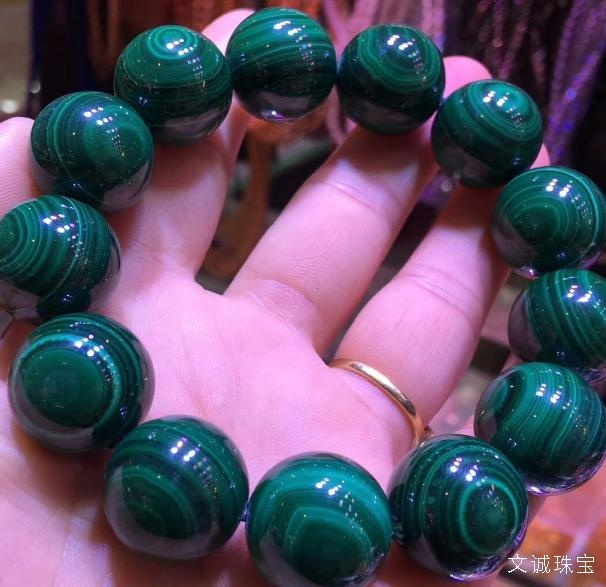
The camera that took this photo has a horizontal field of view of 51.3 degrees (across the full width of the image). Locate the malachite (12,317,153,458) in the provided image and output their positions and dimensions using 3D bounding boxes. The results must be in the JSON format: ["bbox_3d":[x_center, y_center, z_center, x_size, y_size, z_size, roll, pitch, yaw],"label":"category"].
[{"bbox_3d":[-0.222,0.085,0.633,0.135,0.078,0.118,5,58,-5],"label":"malachite"}]

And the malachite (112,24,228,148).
[{"bbox_3d":[-0.147,-0.240,0.719,0.098,0.101,0.141,-6,57,-9],"label":"malachite"}]

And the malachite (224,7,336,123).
[{"bbox_3d":[-0.028,-0.257,0.797,0.102,0.120,0.173,0,93,8],"label":"malachite"}]

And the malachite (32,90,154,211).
[{"bbox_3d":[-0.221,-0.151,0.723,0.100,0.157,0.116,18,14,11],"label":"malachite"}]

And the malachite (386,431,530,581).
[{"bbox_3d":[0.157,0.210,0.633,0.145,0.082,0.120,33,60,12],"label":"malachite"}]

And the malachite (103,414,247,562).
[{"bbox_3d":[-0.130,0.174,0.640,0.110,0.139,0.141,21,11,-28],"label":"malachite"}]

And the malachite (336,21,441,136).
[{"bbox_3d":[0.108,-0.264,0.830,0.097,0.103,0.142,-3,57,-3],"label":"malachite"}]
